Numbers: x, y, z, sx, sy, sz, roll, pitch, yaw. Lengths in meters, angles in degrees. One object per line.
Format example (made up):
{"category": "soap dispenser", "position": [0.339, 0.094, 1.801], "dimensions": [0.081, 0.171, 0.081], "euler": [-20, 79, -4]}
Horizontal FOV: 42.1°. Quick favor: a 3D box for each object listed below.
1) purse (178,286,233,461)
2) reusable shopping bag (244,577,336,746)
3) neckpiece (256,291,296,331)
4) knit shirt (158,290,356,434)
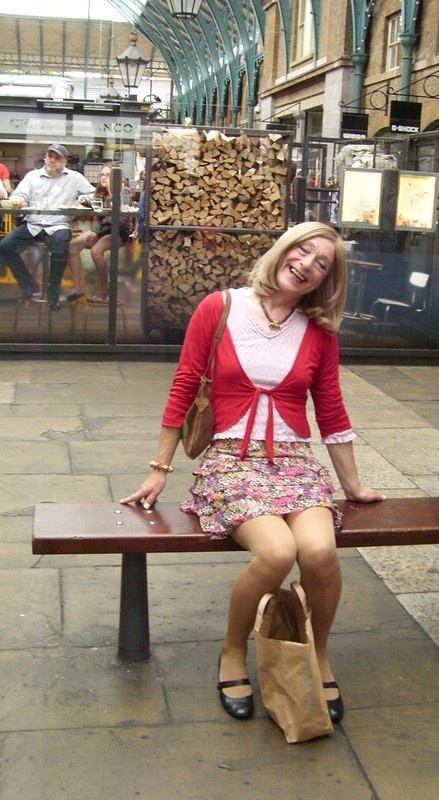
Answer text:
{"category": "purse", "position": [-0.043, -0.059, 2.018], "dimensions": [0.089, 0.541, 0.180], "euler": [9, -3, 3]}
{"category": "reusable shopping bag", "position": [0.201, 0.740, 1.618], "dimensions": [0.188, 0.418, 0.375], "euler": [-10, 8, -4]}
{"category": "neckpiece", "position": [0.209, -0.319, 2.050], "dimensions": [0.100, 0.108, 0.027], "euler": [14, -22, -38]}
{"category": "knit shirt", "position": [0.167, -0.078, 2.088], "dimensions": [0.710, 0.683, 0.255], "euler": [4, -2, -4]}
